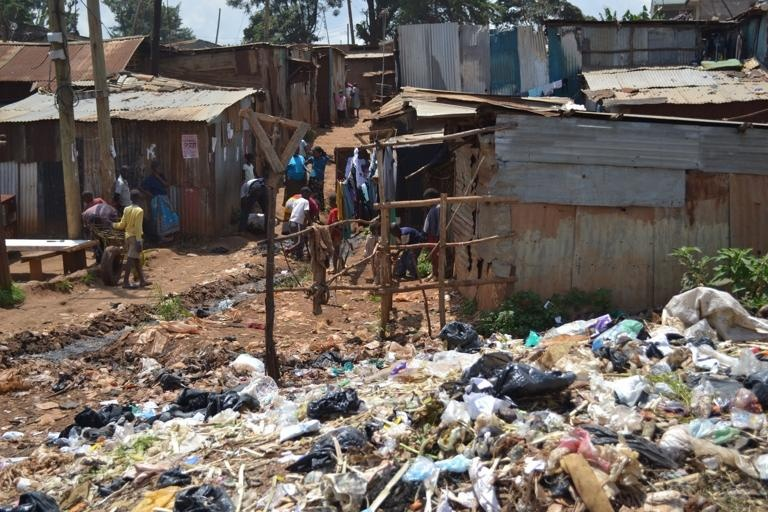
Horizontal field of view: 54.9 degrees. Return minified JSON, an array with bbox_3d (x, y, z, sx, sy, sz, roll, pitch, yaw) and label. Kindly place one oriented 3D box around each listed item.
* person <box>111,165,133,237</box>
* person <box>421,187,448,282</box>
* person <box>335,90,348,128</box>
[{"bbox_3d":[-6.071,-1.231,17.147,0.506,0.728,1.817,-3,-11,-22],"label":"person"},{"bbox_3d":[1.001,-0.348,14.518,0.431,1.537,1.335,-10,51,4],"label":"person"},{"bbox_3d":[-1.743,-6.037,30.285,0.269,1.292,0.664,3,9,34],"label":"person"}]
